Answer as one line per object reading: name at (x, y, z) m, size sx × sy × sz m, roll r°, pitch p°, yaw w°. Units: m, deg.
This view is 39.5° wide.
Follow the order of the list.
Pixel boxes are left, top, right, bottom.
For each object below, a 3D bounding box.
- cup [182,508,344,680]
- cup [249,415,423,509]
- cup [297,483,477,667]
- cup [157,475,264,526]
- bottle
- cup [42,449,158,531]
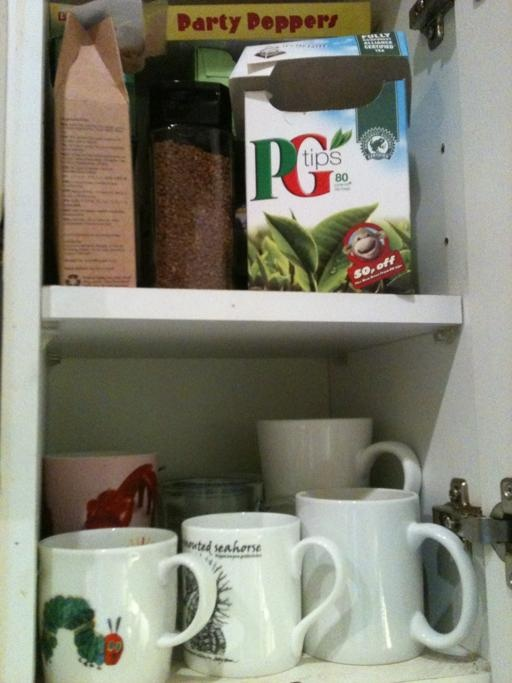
cup at (0.001, 0.208, 0.592) m, size 0.132 × 0.120 × 0.087 m, roll 4°, pitch -9°, yaw -22°
cup at (0.089, 0.118, 0.730) m, size 0.127 × 0.099 × 0.087 m, roll 1°, pitch -6°, yaw -5°
cup at (0.114, 0.197, 0.631) m, size 0.151 × 0.132 × 0.093 m, roll -1°, pitch -3°, yaw 33°
cup at (-0.047, 0.159, 0.747) m, size 0.072 × 0.057 × 0.057 m, roll 2°, pitch -8°, yaw -8°
bottle at (-0.058, -0.141, 0.642) m, size 0.072 × 0.188 × 0.063 m, roll -2°, pitch 6°, yaw -7°
cup at (-0.137, 0.152, 0.680) m, size 0.107 × 0.092 × 0.109 m, roll -7°, pitch -11°, yaw -1°
